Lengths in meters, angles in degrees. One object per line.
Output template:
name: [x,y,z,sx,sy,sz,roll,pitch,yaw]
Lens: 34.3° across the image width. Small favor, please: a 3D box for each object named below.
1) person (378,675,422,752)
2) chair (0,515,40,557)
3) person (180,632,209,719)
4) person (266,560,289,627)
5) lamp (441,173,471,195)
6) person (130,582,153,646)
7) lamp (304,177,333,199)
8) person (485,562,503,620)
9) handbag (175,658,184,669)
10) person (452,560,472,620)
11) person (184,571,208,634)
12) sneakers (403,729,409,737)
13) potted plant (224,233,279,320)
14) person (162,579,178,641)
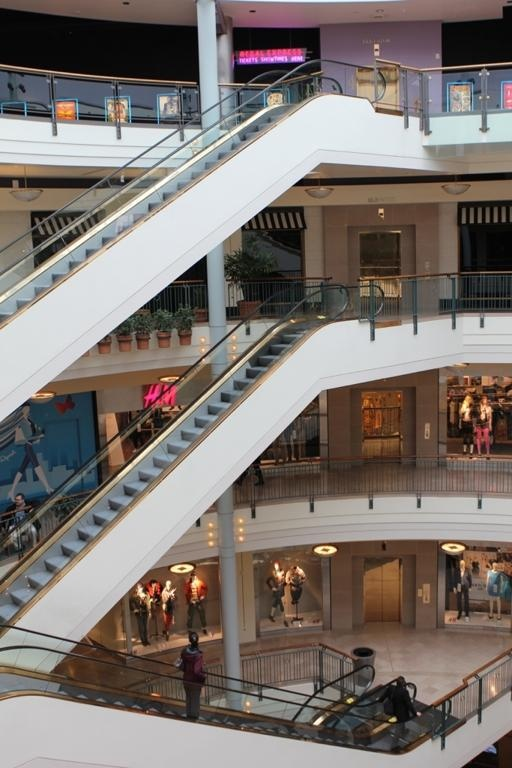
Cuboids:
person: [2.188,4.989,12.706,0.426,1.196,0.471,-11,16,-31]
chair: [-2.892,1.886,10.174,0.410,0.398,0.592,-4,3,-31]
person: [-0.802,3.536,10.252,0.302,0.956,1.292,-3,3,-6]
person: [0.476,4.729,18.577,0.462,1.481,0.171,-4,3,-31]
lamp: [3.819,-3.862,15.913,0.556,0.411,1.192,-2,3,13]
person: [-2.434,4.872,17.389,0.395,1.387,0.328,-3,3,-11]
lamp: [1.162,-3.725,15.748,0.386,0.279,0.392,0,10,6]
person: [5.307,4.643,18.438,0.337,1.308,0.275,-2,3,11]
handbag: [-0.969,3.497,10.254,0.104,0.153,0.089,-2,7,-39]
person: [4.638,4.653,18.716,0.367,1.382,0.185,-1,3,18]
person: [-1.296,4.769,17.849,0.445,1.486,0.704,-2,3,-4]
sneakers: [2.331,5.413,12.852,0.072,0.136,0.139,-4,-12,10]
potted plant: [-0.134,-2.177,16.750,0.980,1.676,1.783,-2,3,-3]
person: [-1.874,4.868,17.766,0.272,1.272,0.404,-2,3,1]
